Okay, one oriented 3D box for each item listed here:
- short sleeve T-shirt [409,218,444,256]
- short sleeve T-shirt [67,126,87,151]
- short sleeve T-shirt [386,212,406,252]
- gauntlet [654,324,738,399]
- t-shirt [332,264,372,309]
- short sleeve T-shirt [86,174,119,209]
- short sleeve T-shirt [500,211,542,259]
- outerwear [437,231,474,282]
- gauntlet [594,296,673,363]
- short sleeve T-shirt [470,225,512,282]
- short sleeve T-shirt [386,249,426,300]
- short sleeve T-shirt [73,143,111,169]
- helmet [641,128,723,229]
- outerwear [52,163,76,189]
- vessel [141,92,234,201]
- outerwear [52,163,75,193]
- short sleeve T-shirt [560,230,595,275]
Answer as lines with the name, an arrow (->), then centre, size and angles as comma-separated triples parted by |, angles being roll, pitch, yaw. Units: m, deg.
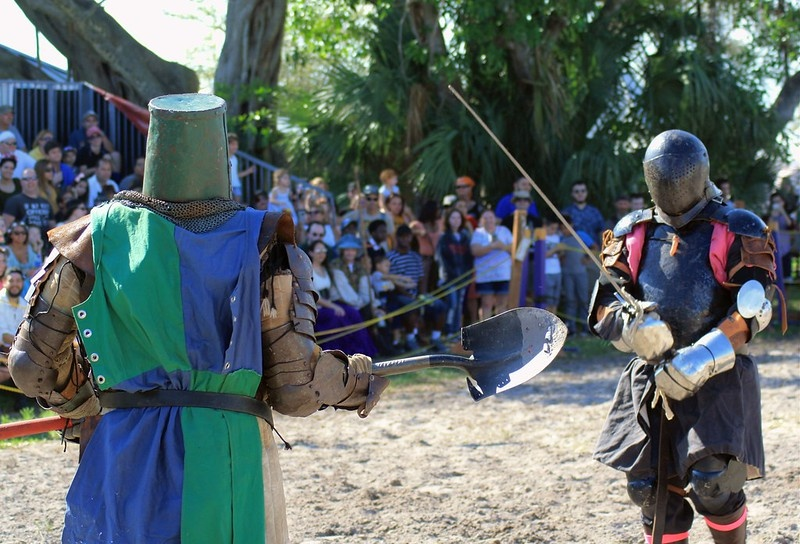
short sleeve T-shirt -> 0.268, -0.371, 17.222 | 0.337, 0.288, 0.137 | 1, 14, -9
short sleeve T-shirt -> -2.741, -1.135, 13.772 | 0.085, 0.160, 0.161 | 27, 18, 26
short sleeve T-shirt -> -0.027, -0.405, 17.087 | 0.204, 0.300, 0.128 | 1, 4, -17
gauntlet -> 2.259, 0.772, 12.509 | 0.630, 0.286, 0.389 | -36, 66, -18
t-shirt -> -0.493, 0.162, 17.104 | 0.354, 0.491, 0.157 | -16, -13, -36
short sleeve T-shirt -> -2.907, -0.796, 15.805 | 0.331, 0.487, 0.188 | -4, 28, -6
short sleeve T-shirt -> 1.362, -0.384, 17.758 | 0.338, 0.508, 0.168 | 2, 0, -3
outerwear -> 0.575, -0.157, 17.373 | 0.397, 0.790, 0.129 | -8, 24, -15
gauntlet -> 1.793, 0.452, 12.487 | 0.530, 0.407, 0.266 | 28, 31, 23
short sleeve T-shirt -> 0.971, -0.197, 17.491 | 0.511, 0.647, 0.329 | -2, 7, -10
short sleeve T-shirt -> 0.071, -0.048, 17.322 | 0.367, 0.453, 0.242 | -21, 41, -17
short sleeve T-shirt -> -2.782, -1.020, 14.618 | 0.210, 0.088, 0.219 | -5, -29, -23
helmet -> 2.224, -0.793, 12.893 | 0.538, 0.795, 0.719 | -3, 18, 25
outerwear -> -3.106, -0.880, 15.053 | 0.203, 0.283, 0.152 | 28, 45, 30
vessel -> -1.520, -0.949, 12.101 | 0.676, 0.792, 0.703 | 2, 10, 7
outerwear -> -3.115, -0.875, 15.084 | 0.216, 0.225, 0.156 | -12, 23, -34
short sleeve T-shirt -> 1.896, -0.213, 17.543 | 0.401, 0.585, 0.225 | 2, 44, 27
